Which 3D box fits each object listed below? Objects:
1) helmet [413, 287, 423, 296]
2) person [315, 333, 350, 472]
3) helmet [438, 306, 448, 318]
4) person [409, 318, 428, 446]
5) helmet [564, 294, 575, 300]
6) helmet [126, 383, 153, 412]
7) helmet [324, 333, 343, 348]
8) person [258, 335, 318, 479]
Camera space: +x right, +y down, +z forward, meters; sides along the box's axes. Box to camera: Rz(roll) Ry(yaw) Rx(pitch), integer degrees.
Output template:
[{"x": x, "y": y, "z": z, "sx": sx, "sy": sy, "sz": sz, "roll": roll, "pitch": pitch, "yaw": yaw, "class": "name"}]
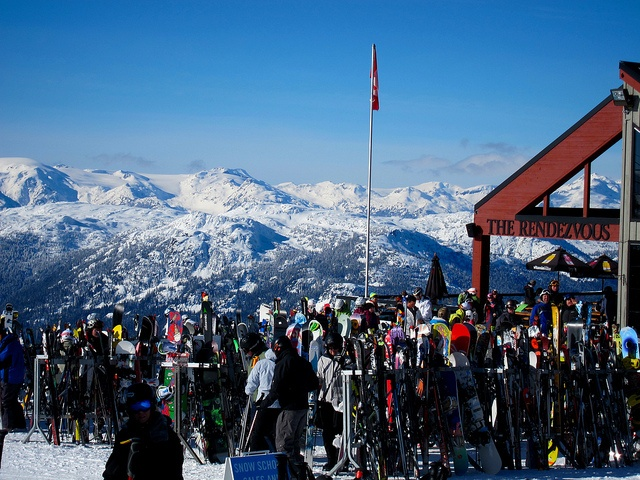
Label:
[{"x": 2.502, "y": 1.290, "z": 23.060, "sx": 0.207, "sy": 0.253, "sz": 0.257, "roll": 6, "pitch": -16, "yaw": -36, "class": "helmet"}, {"x": 0.188, "y": 2.812, "z": 15.820, "sx": 0.460, "sy": 2.343, "sz": 0.743, "roll": 0, "pitch": -10, "yaw": -1, "class": "person"}, {"x": 2.525, "y": 1.477, "z": 18.458, "sx": 0.154, "sy": 0.221, "sz": 0.216, "roll": 8, "pitch": 20, "yaw": 13, "class": "helmet"}, {"x": 1.799, "y": 2.577, "z": 15.999, "sx": 0.338, "sy": 2.220, "sz": 0.925, "roll": -2, "pitch": -10, "yaw": 6, "class": "person"}, {"x": 6.187, "y": 1.398, "z": 22.435, "sx": 0.242, "sy": 0.125, "sz": 0.334, "roll": 1, "pitch": -12, "yaw": 2, "class": "helmet"}, {"x": -2.346, "y": 2.031, "z": 11.773, "sx": 0.290, "sy": 0.345, "sz": 0.362, "roll": -4, "pitch": 6, "yaw": -8, "class": "helmet"}, {"x": 0.251, "y": 1.746, "z": 15.764, "sx": 0.331, "sy": 0.271, "sz": 0.251, "roll": 1, "pitch": -10, "yaw": -9, "class": "helmet"}, {"x": -0.471, "y": 2.658, "z": 14.518, "sx": 0.853, "sy": 2.261, "sz": 0.332, "roll": 0, "pitch": -10, "yaw": -2, "class": "person"}]
